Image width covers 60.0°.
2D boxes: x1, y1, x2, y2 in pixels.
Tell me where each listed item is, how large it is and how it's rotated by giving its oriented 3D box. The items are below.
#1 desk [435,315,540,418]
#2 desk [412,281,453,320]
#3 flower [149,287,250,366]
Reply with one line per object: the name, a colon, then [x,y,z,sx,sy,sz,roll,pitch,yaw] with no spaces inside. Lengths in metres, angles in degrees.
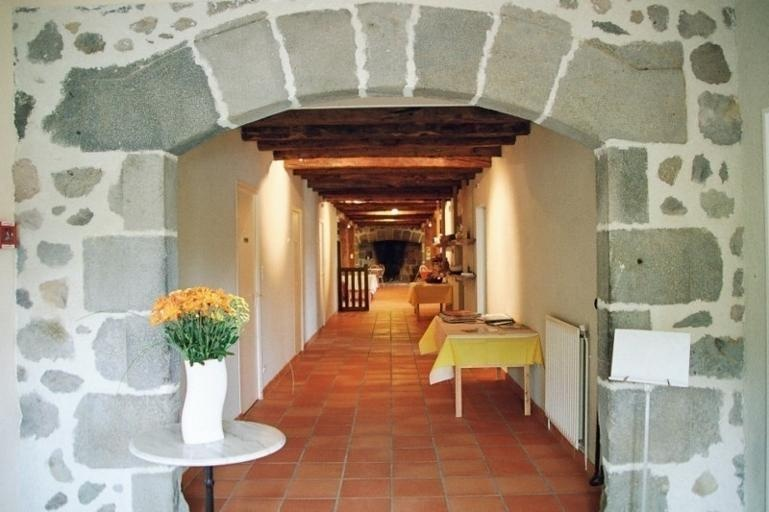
desk: [1.012,1.058,6.459,0.840,0.448,0.932,-1,2,-1]
desk: [0.735,0.881,12.046,0.599,0.332,0.598,25,-12,-22]
flower: [-1.151,0.452,4.115,0.550,0.492,0.497,0,-8,-20]
